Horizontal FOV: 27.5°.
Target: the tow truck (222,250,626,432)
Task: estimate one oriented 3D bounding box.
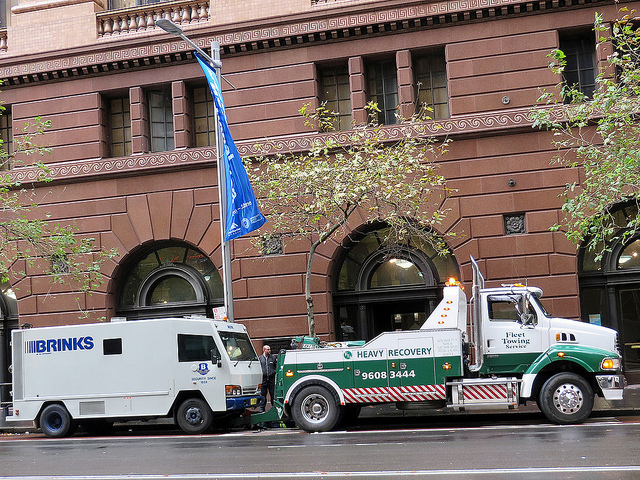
[{"bbox_3d":[2.998,3.196,38.991,11.766,4.346,3.846,-3,-4,5],"label":"tow truck"}]

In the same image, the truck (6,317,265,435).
[{"bbox_3d":[-5.823,3.920,39.391,8.858,3.354,2.981,-3,-6,7],"label":"truck"}]
